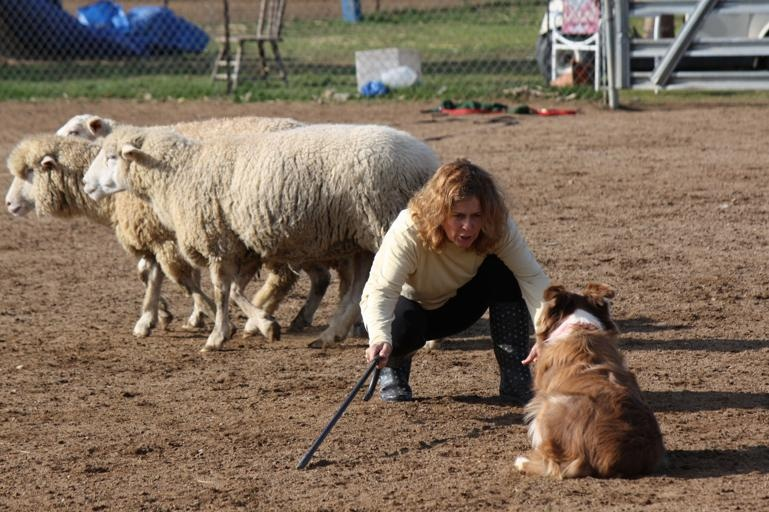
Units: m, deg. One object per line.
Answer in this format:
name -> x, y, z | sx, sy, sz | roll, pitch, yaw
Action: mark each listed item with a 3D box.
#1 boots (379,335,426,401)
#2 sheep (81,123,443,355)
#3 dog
boots -> 0.272, 1.473, 17.729 | 0.262, 0.535, 0.547 | 8, -5, -41
sheep -> -1.552, -0.213, 19.117 | 4.703, 2.900, 1.628 | -3, -2, 6
dog -> 2.461, 1.407, 17.106 | 1.723, 1.849, 2.667 | -10, 28, -9
